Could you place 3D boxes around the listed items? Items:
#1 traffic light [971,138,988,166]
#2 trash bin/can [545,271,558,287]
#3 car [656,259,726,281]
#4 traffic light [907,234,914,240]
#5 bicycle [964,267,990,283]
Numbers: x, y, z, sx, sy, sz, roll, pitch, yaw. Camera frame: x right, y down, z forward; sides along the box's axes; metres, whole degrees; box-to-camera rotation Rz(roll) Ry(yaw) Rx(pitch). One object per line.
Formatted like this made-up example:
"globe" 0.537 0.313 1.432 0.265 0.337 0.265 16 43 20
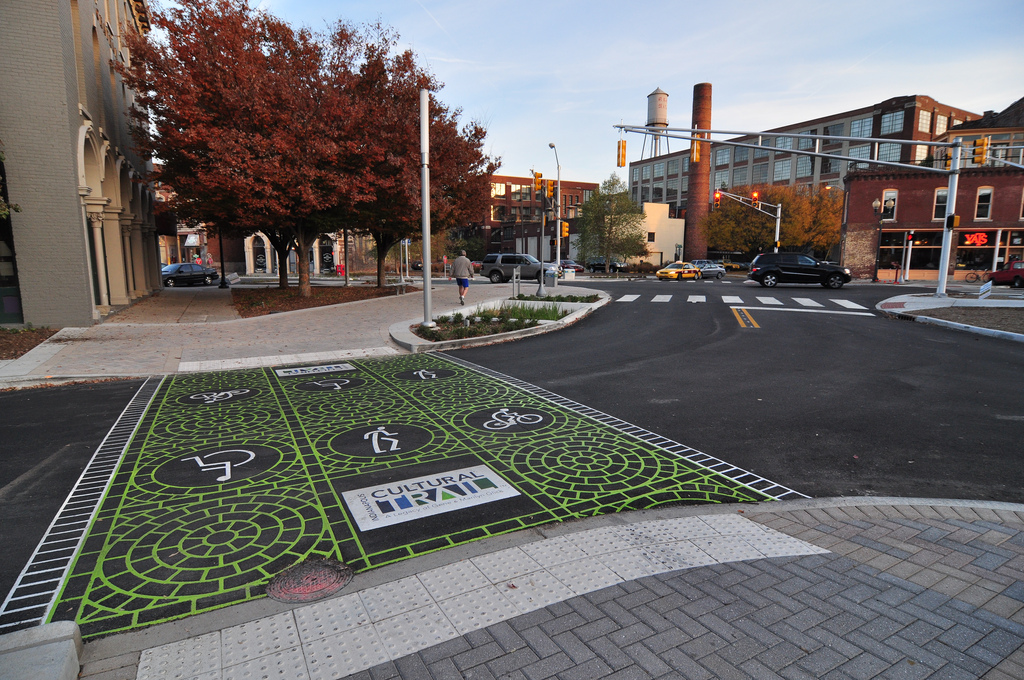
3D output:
"traffic light" 18.396 -7.642 24.808 0.440 0.874 1.332 7 16 37
"trash bin/can" 1.854 -2.852 29.911 0.448 0.794 1.158 -5 12 -5
"car" 14.578 -5.488 51.188 1.953 1.612 8.488 7 14 37
"traffic light" 29.560 -7.672 46.885 0.134 0.415 0.460 -10 -30 19
"bicycle" 33.638 -4.745 45.815 1.503 0.794 1.296 3 13 24
